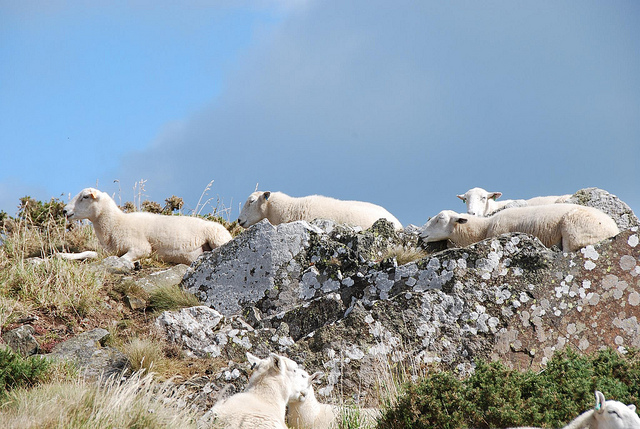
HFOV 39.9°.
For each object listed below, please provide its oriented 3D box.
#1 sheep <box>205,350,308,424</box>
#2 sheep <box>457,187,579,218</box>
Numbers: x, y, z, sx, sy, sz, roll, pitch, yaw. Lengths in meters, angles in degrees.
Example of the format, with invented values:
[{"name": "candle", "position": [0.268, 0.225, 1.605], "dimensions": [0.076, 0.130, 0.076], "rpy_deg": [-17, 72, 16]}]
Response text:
[{"name": "sheep", "position": [-0.883, 2.880, 14.152], "dimensions": [0.839, 1.014, 1.704], "rpy_deg": [0, 6, 28]}, {"name": "sheep", "position": [4.852, -0.192, 21.502], "dimensions": [1.805, 1.029, 0.756], "rpy_deg": [2, -2, 7]}]
